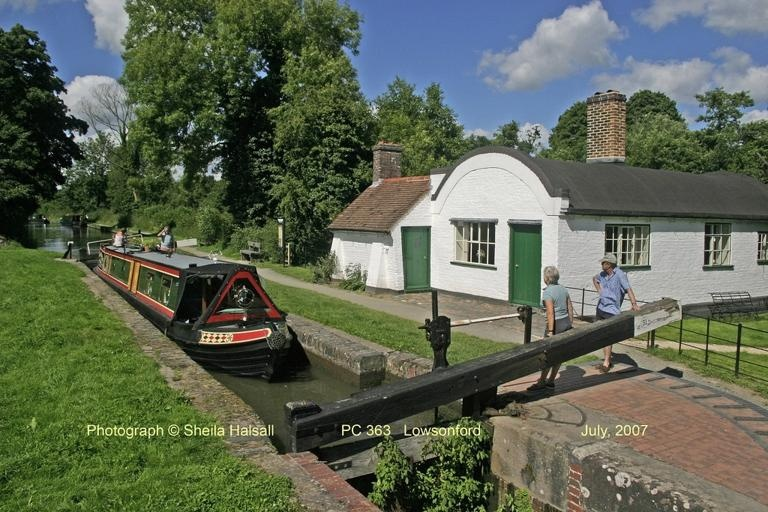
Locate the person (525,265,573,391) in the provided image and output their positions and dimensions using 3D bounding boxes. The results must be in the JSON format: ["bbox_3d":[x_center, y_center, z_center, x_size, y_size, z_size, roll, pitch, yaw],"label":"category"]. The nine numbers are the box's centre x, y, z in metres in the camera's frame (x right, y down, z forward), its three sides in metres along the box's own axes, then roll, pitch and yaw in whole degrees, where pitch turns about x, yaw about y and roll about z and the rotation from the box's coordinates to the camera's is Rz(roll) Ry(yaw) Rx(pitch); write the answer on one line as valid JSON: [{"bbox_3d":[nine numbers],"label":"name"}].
[{"bbox_3d":[4.005,1.706,15.462,0.780,2.968,0.948,2,-3,42],"label":"person"}]

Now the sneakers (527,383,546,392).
[{"bbox_3d":[3.614,3.123,15.399,0.505,0.190,0.182,1,-4,-11],"label":"sneakers"}]

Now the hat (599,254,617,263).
[{"bbox_3d":[5.662,0.067,16.565,0.235,0.152,0.297,1,7,-39],"label":"hat"}]

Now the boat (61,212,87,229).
[{"bbox_3d":[-40.705,-4.654,85.406,2.935,1.671,5.198,0,4,-21],"label":"boat"}]
